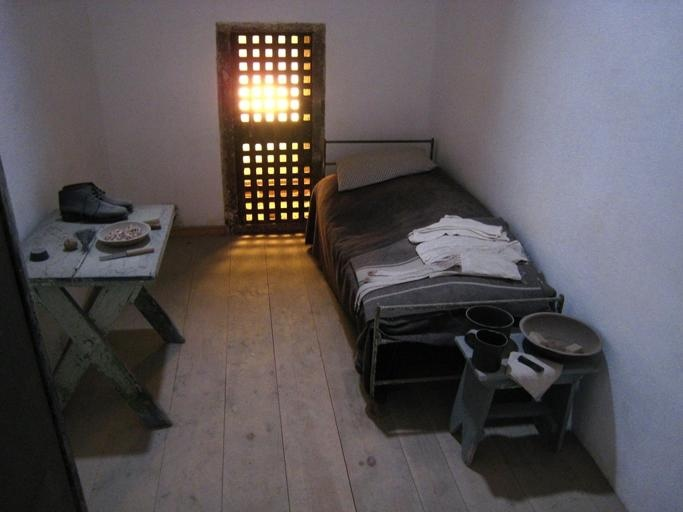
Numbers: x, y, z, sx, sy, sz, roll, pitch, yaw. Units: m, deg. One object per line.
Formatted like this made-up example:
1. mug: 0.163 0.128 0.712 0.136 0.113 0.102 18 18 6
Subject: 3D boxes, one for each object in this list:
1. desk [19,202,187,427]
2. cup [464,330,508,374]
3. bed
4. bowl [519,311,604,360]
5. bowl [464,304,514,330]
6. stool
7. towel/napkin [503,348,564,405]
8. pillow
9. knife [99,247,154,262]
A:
1. desk: -1.185 0.286 2.530 0.552 0.674 1.021 -2 36 -12
2. cup: 0.664 0.422 2.372 0.127 0.150 0.205 1 29 -1
3. bed: 0.469 -0.142 3.643 1.302 0.839 2.243 -3 26 -9
4. bowl: 1.066 0.381 2.474 0.246 0.062 0.239 -2 33 1
5. bowl: 0.722 0.289 2.476 0.162 0.132 0.133 -3 38 -6
6. stool: 0.861 0.701 2.553 0.565 0.555 0.413 -2 20 -5
7. towel/napkin: 0.851 0.525 2.288 0.214 0.054 0.217 32 47 30
8. pillow: 0.290 -0.828 4.322 0.722 0.195 0.460 -12 48 -6
9. knife: -1.102 -0.009 2.604 0.210 0.025 0.041 -10 40 -26
